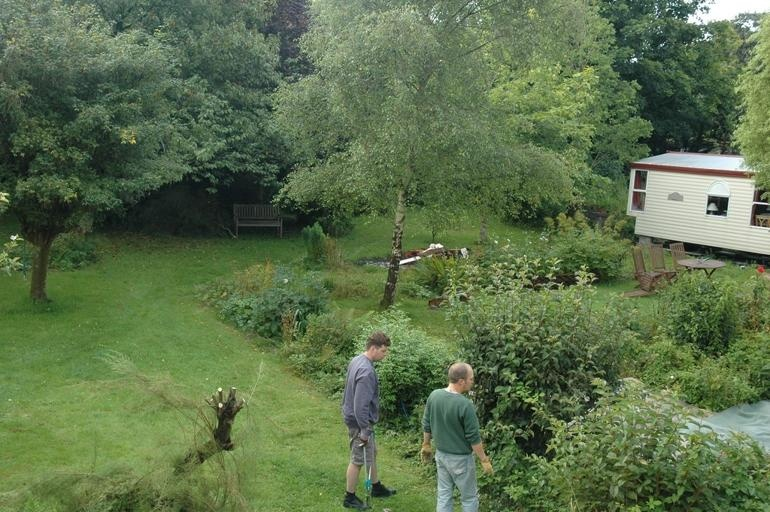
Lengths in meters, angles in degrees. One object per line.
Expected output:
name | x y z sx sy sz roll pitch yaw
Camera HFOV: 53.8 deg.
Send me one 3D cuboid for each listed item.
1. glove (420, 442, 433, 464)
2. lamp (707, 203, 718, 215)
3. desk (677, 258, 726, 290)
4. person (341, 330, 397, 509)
glove | 0.764 3.889 15.031 0.309 0.449 0.132 1 4 -34
lamp | 12.578 -1.822 29.189 0.402 0.458 0.414 -4 5 -17
desk | 10.145 0.882 24.314 1.362 1.121 1.428 2 7 18
person | -0.403 3.284 15.361 0.908 3.562 0.630 2 5 -4
